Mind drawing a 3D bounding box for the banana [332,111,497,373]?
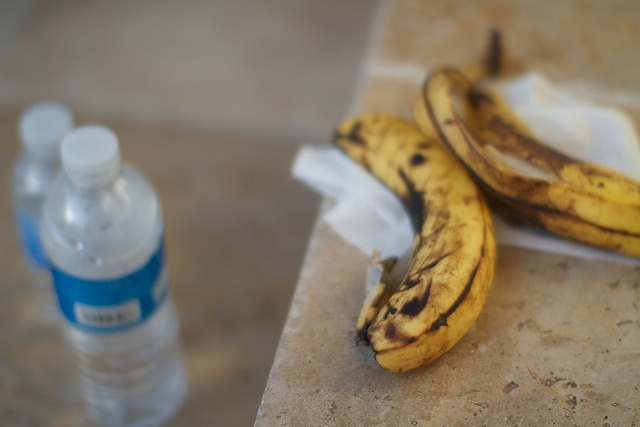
[{"bbox_3d":[0.144,0.076,1.029,0.223,0.118,0.441,-3,53,6],"label":"banana"}]
